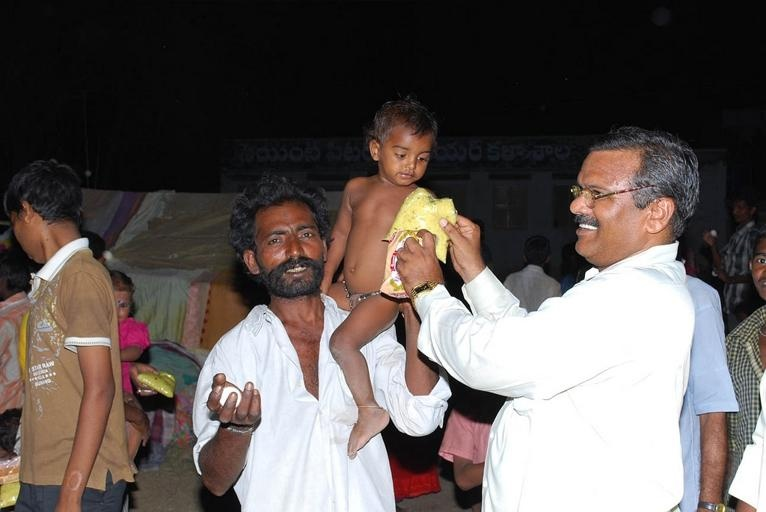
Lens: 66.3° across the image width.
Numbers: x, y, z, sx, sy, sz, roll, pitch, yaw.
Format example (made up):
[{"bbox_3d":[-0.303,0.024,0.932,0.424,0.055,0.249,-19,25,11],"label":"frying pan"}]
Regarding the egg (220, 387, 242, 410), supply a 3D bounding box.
[{"bbox_3d":[-0.697,0.637,2.667,0.096,0.090,0.048,1,-4,-7],"label":"egg"}]
